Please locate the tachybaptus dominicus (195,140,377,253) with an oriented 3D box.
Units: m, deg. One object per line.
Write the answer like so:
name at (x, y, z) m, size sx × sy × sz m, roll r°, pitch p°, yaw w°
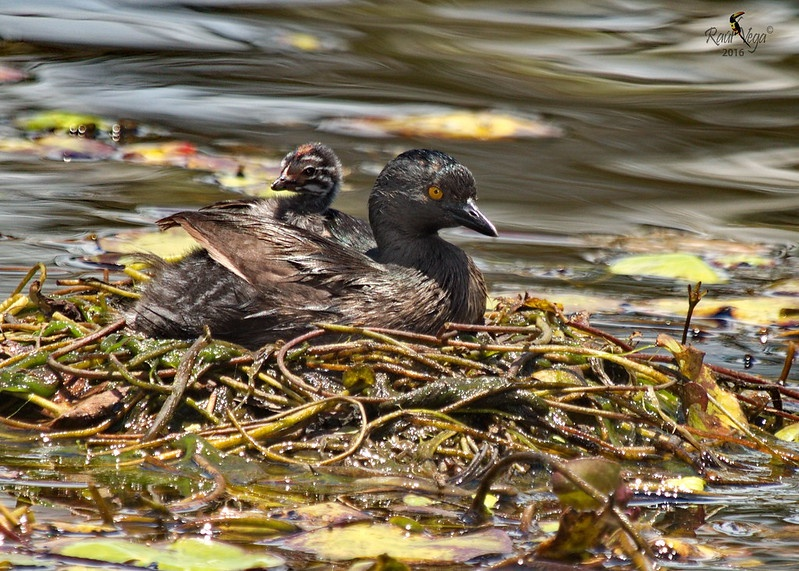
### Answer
tachybaptus dominicus at (-0.326, -0.658, 6.699) m, size 1.579 × 0.527 × 0.967 m, roll 8°, pitch 12°, yaw -42°
